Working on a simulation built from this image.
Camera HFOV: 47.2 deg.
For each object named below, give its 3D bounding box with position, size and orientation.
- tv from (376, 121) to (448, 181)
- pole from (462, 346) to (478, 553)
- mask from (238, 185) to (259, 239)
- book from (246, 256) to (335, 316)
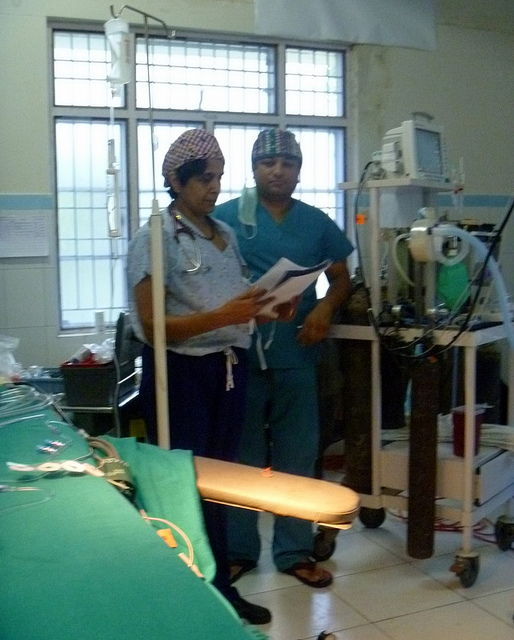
[{"bbox_3d":[0.582,-0.626,2.216,0.302,0.219,0.223,-8,7,-33],"label":"tv"},{"bbox_3d":[0.721,0.439,2.019,0.052,0.708,0.141,-1,5,20],"label":"pole"},{"bbox_3d":[-0.028,-0.394,2.160,0.075,0.199,0.125,-2,5,7],"label":"mask"},{"bbox_3d":[0.095,-0.087,1.590,0.199,0.162,0.372,-2,4,6],"label":"book"}]
